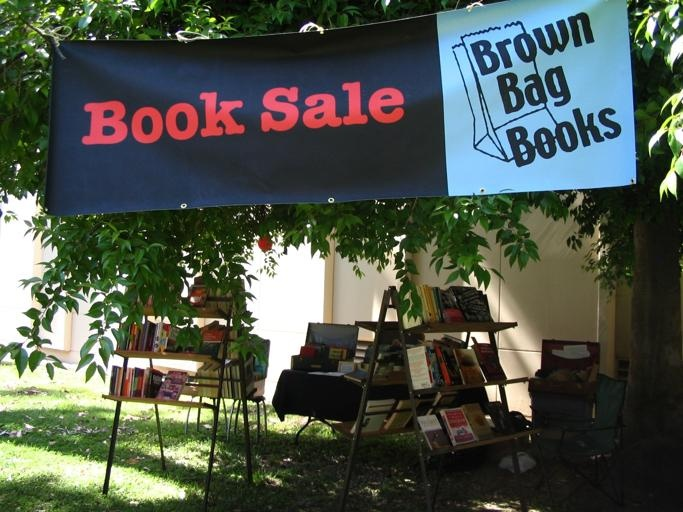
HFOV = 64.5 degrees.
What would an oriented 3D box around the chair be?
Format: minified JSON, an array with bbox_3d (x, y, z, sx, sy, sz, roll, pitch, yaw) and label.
[{"bbox_3d":[2.321,1.832,5.269,0.827,1.379,0.903,3,-7,-12],"label":"chair"}]
